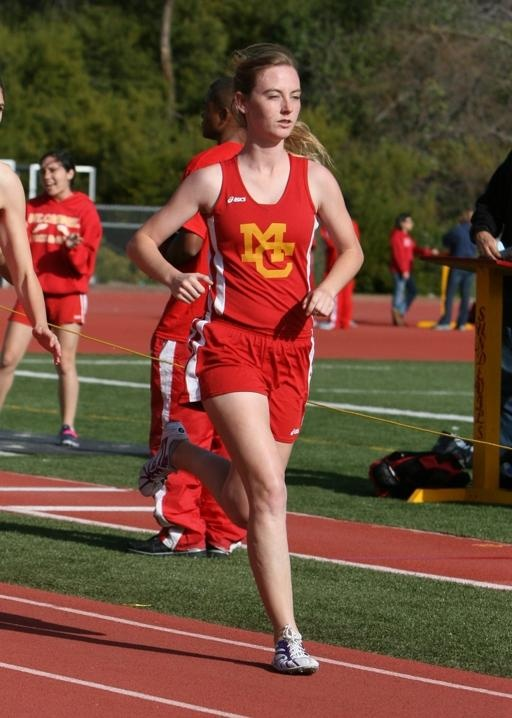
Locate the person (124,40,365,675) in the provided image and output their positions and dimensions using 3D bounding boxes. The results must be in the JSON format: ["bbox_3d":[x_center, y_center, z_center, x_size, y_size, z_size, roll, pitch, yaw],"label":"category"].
[{"bbox_3d":[-0.082,-0.067,2.463,0.691,1.763,0.594,4,7,5],"label":"person"}]

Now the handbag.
[{"bbox_3d":[1.013,0.677,5.291,0.465,0.153,0.329,-4,2,-22],"label":"handbag"}]

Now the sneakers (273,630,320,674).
[{"bbox_3d":[0.096,0.781,2.300,0.072,0.077,0.179,1,-3,-20],"label":"sneakers"}]
